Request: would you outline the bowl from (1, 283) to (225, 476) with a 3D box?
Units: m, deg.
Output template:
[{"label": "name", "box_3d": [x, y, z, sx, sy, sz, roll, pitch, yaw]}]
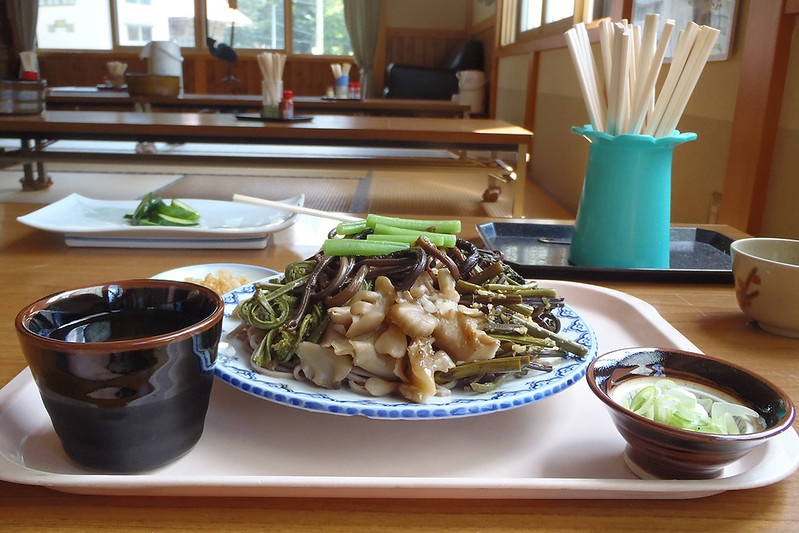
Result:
[{"label": "bowl", "box_3d": [-0.229, 0.091, 0.567, 0.187, 0.133, 0.171, 2, 21, -1]}]

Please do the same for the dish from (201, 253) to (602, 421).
[{"label": "dish", "box_3d": [0.017, 0.036, 0.518, 0.202, 0.021, 0.193, -7, 22, -22]}]

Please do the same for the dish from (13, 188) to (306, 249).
[{"label": "dish", "box_3d": [-0.428, -0.070, 1.040, 0.322, 0.043, 0.205, 0, 18, -4]}]

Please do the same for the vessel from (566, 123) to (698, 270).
[{"label": "vessel", "box_3d": [0.370, -0.133, 1.060, 0.240, 0.239, 0.234, -4, 13, -34]}]
